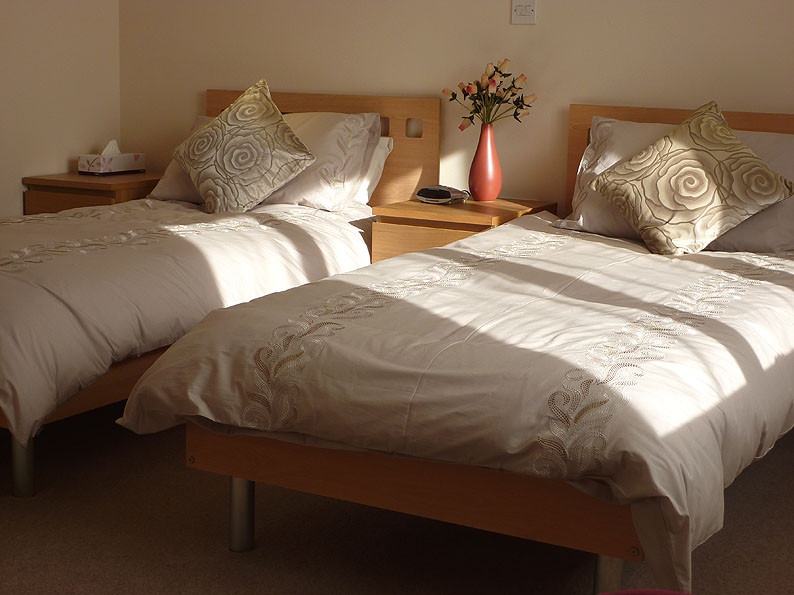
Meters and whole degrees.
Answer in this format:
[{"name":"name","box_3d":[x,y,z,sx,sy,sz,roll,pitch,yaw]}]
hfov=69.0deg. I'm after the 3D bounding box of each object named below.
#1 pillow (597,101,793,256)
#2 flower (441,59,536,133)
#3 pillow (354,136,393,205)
[{"name":"pillow","box_3d":[1.325,-0.509,2.585,0.663,0.194,0.652,-34,53,2]},{"name":"flower","box_3d":[0.577,-1.145,3.435,0.455,0.400,0.444,12,-6,-36]},{"name":"pillow","box_3d":[-0.136,-0.794,3.613,0.100,0.384,0.321,20,-17,-8]}]
